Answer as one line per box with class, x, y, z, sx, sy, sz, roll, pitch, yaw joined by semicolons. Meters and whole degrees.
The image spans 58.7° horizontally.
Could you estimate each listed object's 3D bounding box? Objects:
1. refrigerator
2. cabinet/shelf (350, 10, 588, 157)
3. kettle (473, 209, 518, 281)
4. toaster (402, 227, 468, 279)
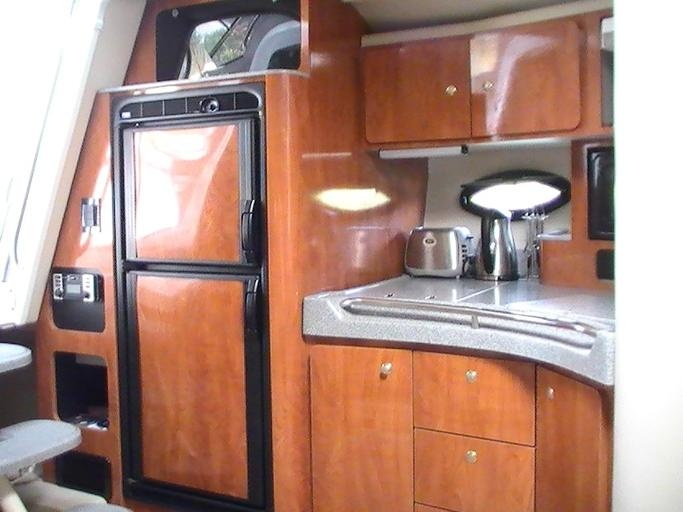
refrigerator;-0.564;0.194;2.767;0.678;1.748;0.530;0;1;18
cabinet/shelf;0.573;-0.731;2.592;1.126;0.578;0.546;0;2;27
kettle;0.722;-0.046;2.832;0.194;0.316;0.134;-1;-3;14
toaster;0.459;-0.046;2.991;0.273;0.248;0.261;5;10;32
